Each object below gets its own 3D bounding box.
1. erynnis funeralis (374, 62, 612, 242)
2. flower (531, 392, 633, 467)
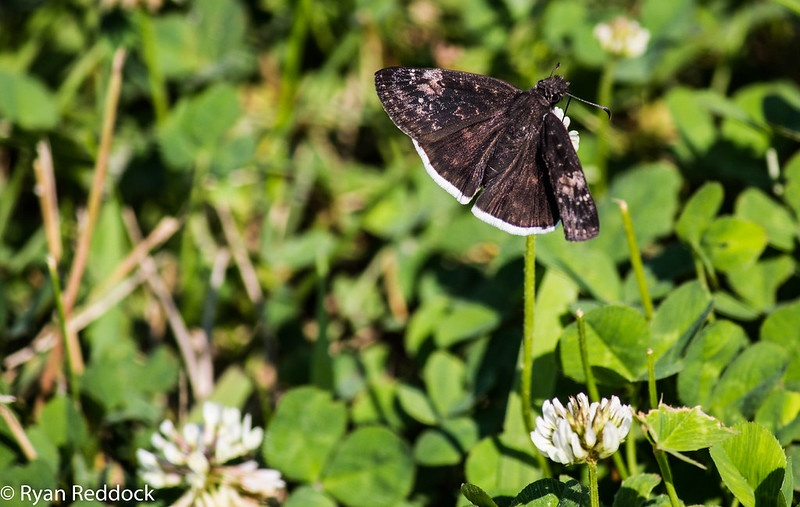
[{"bbox_3d":[0.233,-0.298,2.205,0.660,0.293,0.302,32,41,21],"label":"erynnis funeralis"},{"bbox_3d":[0.415,0.411,1.979,0.160,0.155,0.109,-9,79,6],"label":"flower"}]
